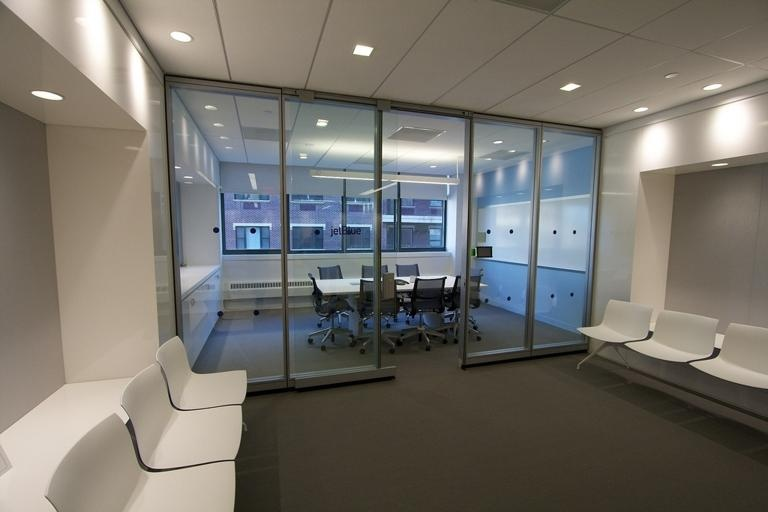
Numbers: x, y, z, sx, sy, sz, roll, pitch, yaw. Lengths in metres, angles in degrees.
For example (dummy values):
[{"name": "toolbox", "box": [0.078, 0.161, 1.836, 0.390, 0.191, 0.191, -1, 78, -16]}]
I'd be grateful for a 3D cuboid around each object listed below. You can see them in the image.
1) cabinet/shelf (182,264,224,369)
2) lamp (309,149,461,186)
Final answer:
[{"name": "cabinet/shelf", "box": [-2.137, 0.725, 5.798, 0.409, 0.654, 1.142, -2, 8, -8]}, {"name": "lamp", "box": [0.140, -1.085, 6.649, 0.599, 0.267, 2.411, 4, 4, 41]}]
